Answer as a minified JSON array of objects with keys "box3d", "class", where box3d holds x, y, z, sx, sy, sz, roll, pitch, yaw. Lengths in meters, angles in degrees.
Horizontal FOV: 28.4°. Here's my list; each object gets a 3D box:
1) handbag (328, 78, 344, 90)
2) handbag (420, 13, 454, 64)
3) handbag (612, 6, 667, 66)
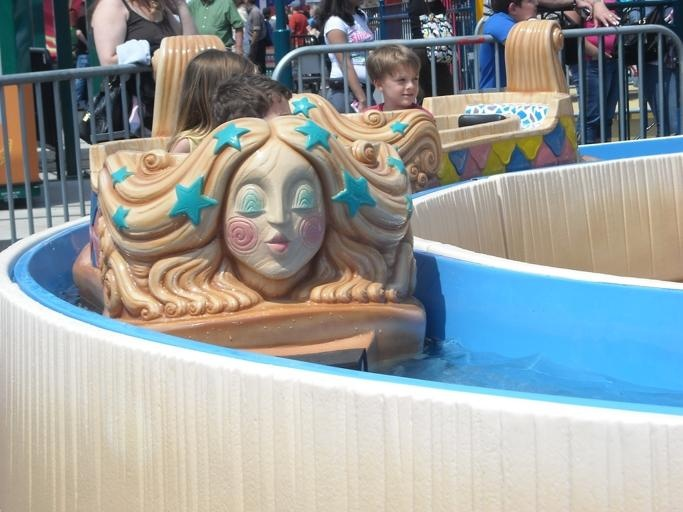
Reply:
[{"box3d":[-0.037,-1.216,9.448,0.071,0.066,0.071,-3,19,-5],"class":"handbag"},{"box3d":[0.693,-1.655,9.973,0.256,0.471,0.144,-2,3,9],"class":"handbag"},{"box3d":[2.350,-1.745,10.444,0.364,0.558,0.540,-7,15,-25],"class":"handbag"}]
